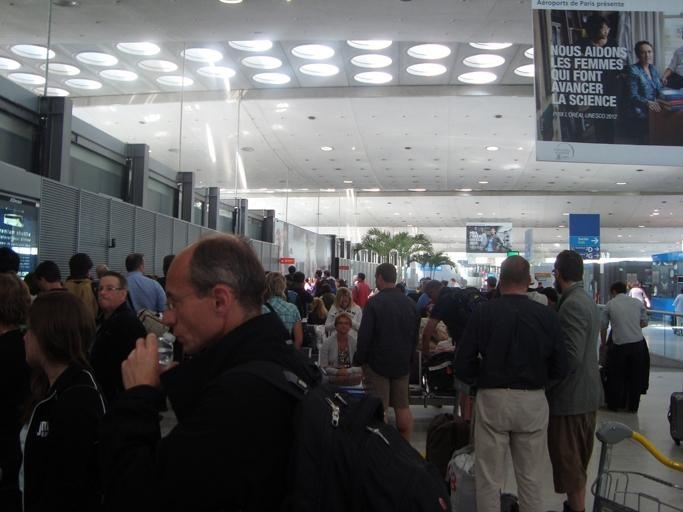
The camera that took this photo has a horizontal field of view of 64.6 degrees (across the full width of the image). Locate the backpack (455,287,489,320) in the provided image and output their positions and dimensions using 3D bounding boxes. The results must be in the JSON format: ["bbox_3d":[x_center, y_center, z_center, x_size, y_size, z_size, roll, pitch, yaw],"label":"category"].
[{"bbox_3d":[1.491,0.540,6.230,0.444,0.469,0.334,-1,-1,-3],"label":"backpack"}]

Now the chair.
[{"bbox_3d":[0.915,1.323,6.480,0.942,0.751,1.582,-2,-7,26],"label":"chair"}]
